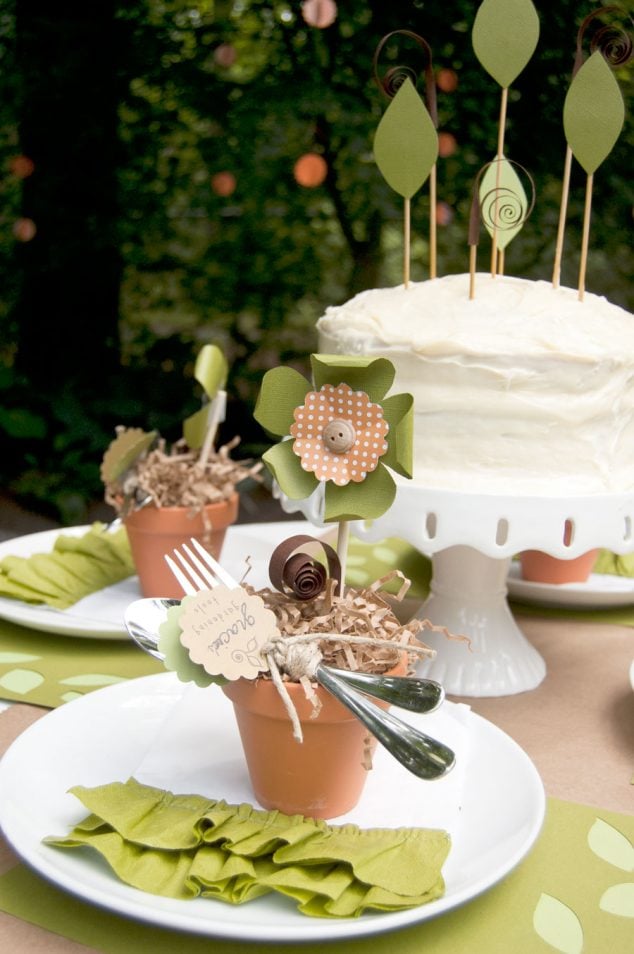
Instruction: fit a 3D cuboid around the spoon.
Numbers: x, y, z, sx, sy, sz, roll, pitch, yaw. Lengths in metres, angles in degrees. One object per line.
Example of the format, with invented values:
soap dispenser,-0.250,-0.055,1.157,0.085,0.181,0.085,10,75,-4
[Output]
spoon,-0.023,0.109,0.599,0.218,0.043,0.067,9,8,19
